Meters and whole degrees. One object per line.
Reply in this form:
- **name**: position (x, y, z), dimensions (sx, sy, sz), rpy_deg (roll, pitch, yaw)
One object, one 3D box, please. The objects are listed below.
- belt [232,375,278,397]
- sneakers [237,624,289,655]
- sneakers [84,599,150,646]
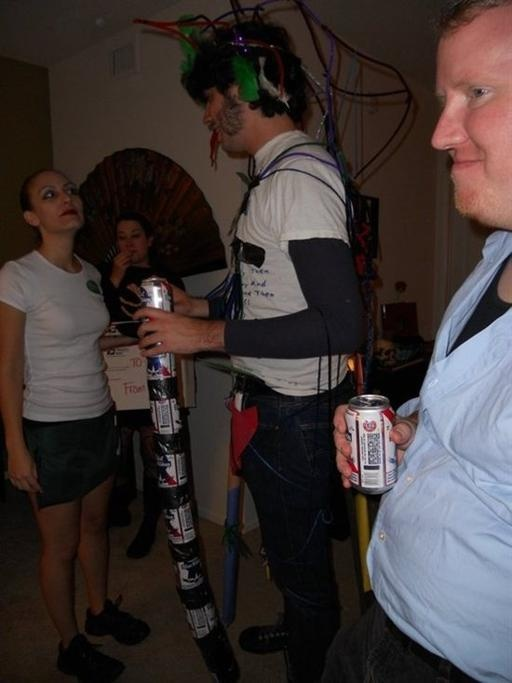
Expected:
- **belt**: position (-0.005, 0.111, 1.463), dimensions (0.079, 0.027, 0.055), rpy_deg (24, -9, -8)
- **sneakers**: position (0.021, 0.963, 1.883), dimensions (0.182, 0.060, 0.065), rpy_deg (2, 45, -10)
- **sneakers**: position (-0.458, 0.943, 2.004), dimensions (0.238, 0.131, 0.109), rpy_deg (10, 6, -1)
